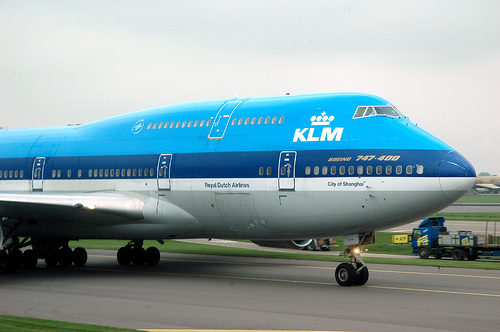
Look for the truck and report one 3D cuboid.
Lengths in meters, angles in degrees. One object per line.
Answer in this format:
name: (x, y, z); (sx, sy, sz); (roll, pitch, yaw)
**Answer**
truck: (13.101, 4.897, 41.209); (5.291, 1.947, 2.093); (1, -1, 43)
